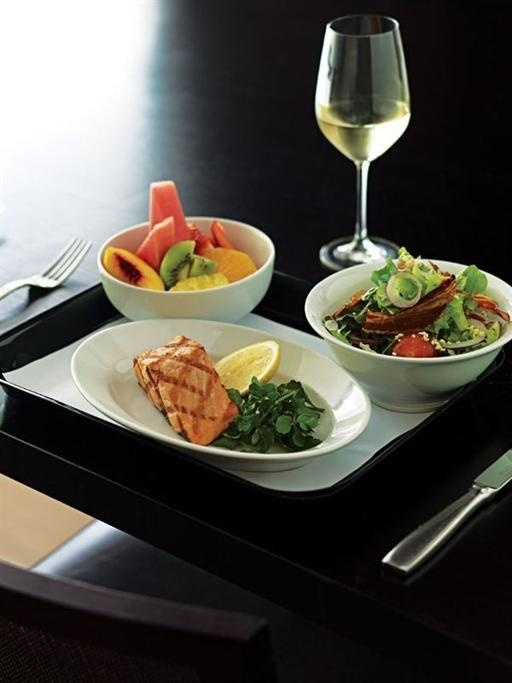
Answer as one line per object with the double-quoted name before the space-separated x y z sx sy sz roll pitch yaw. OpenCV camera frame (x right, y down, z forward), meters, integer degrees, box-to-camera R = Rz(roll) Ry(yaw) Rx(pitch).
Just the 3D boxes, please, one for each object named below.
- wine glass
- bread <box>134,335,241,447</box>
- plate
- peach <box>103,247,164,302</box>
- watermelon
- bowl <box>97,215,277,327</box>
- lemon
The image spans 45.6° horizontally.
"wine glass" 0.123 -0.265 0.896 0.155 0.365 0.156 -25 41 -22
"bread" -0.067 0.045 0.594 0.073 0.036 0.117 -20 58 -13
"plate" -0.033 0.055 0.581 0.157 0.063 0.149 -12 30 -24
"peach" -0.158 -0.093 0.817 0.098 0.029 0.050 37 69 10
"watermelon" -0.122 -0.154 0.829 0.046 0.118 0.079 1 32 -2
"bowl" -0.094 -0.094 0.835 0.235 0.095 0.235 -1 29 1
"lemon" 0.000 0.034 0.685 0.073 0.051 0.071 -22 35 -33
